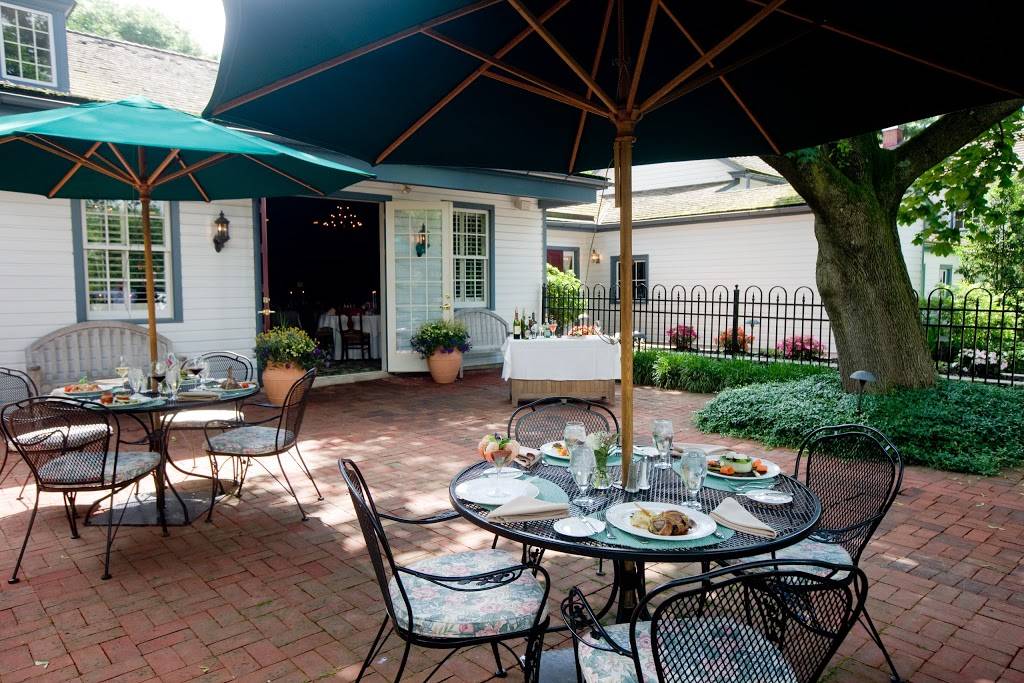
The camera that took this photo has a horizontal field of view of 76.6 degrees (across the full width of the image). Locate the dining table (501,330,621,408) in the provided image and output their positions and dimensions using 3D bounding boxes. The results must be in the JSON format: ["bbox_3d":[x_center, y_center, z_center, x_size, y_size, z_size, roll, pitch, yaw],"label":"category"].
[{"bbox_3d":[0.667,0.386,9.234,1.501,0.611,1.146,0,3,-3],"label":"dining table"}]

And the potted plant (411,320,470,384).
[{"bbox_3d":[-1.234,0.182,11.123,1.192,0.916,1.057,-5,-12,-13],"label":"potted plant"}]

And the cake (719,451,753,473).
[{"bbox_3d":[1.306,0.716,3.787,0.138,0.049,0.129,0,5,2],"label":"cake"}]

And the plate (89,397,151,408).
[{"bbox_3d":[-3.031,0.472,5.002,0.471,0.054,0.251,-3,3,-6],"label":"plate"}]

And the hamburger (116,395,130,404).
[{"bbox_3d":[-3.051,0.460,5.093,0.103,0.028,0.071,1,5,23],"label":"hamburger"}]

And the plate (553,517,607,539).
[{"bbox_3d":[0.332,0.921,3.180,0.256,0.053,0.166,-2,4,4],"label":"plate"}]

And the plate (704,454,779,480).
[{"bbox_3d":[1.303,0.731,3.741,0.217,0.048,0.211,-7,6,-40],"label":"plate"}]

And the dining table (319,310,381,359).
[{"bbox_3d":[-3.118,-0.109,12.638,0.717,0.901,0.696,-6,-8,6],"label":"dining table"}]

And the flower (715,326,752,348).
[{"bbox_3d":[4.210,-0.078,12.363,0.619,0.402,0.560,0,5,-15],"label":"flower"}]

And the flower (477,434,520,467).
[{"bbox_3d":[-0.084,0.633,3.806,0.229,0.181,0.196,0,2,-6],"label":"flower"}]

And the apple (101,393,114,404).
[{"bbox_3d":[-3.184,0.460,5.108,0.104,0.052,0.100,1,2,-35],"label":"apple"}]

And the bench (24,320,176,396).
[{"bbox_3d":[-4.820,0.193,7.415,1.084,0.522,0.388,-4,11,-38],"label":"bench"}]

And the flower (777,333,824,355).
[{"bbox_3d":[5.406,0.062,12.182,0.547,0.291,0.500,-4,7,-22],"label":"flower"}]
